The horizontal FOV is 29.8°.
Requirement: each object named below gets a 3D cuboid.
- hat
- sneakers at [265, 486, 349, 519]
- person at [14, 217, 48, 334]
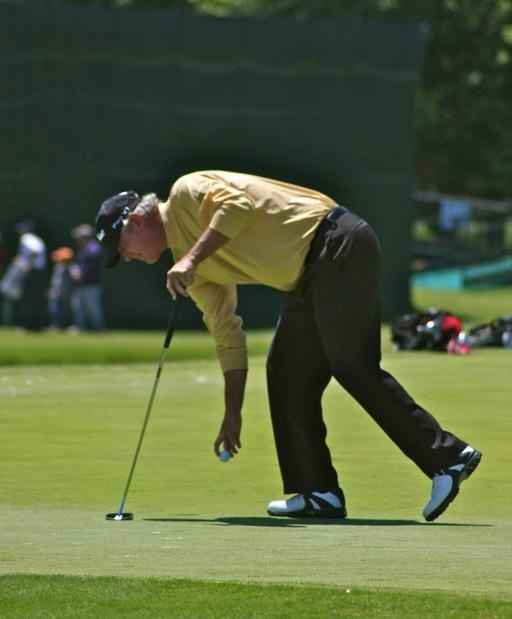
[{"bbox_3d":[-0.497,-0.284,3.418,0.172,0.259,0.185,29,6,-21],"label":"hat"},{"bbox_3d":[0.185,0.710,3.531,0.288,0.098,0.101,1,-22,6],"label":"sneakers"},{"bbox_3d":[-3.448,-0.530,14.846,0.506,1.683,1.022,6,2,-13],"label":"person"}]
